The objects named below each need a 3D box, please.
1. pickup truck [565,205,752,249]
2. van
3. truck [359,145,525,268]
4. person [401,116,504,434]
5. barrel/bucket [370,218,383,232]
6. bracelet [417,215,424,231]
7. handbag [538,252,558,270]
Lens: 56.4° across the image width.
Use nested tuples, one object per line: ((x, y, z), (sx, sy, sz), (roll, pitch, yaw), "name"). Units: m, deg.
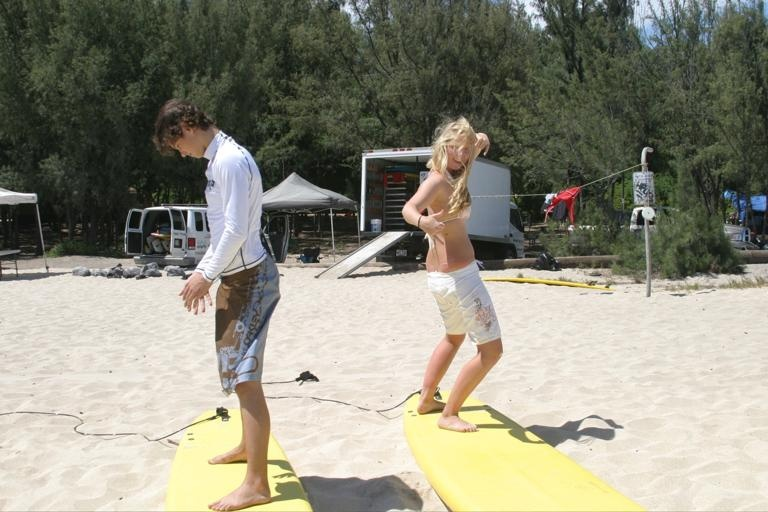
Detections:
((7.444, -0.806, 19.939), (3.321, 1.044, 1.244), (-3, 6, 4), "pickup truck")
((-4.238, -0.509, 16.299), (1.545, 1.306, 2.485), (1, 10, 21), "van")
((2.106, -1.258, 21.597), (2.898, 3.406, 5.525), (1, 0, 33), "truck")
((0.871, 0.223, 8.896), (1.073, 3.794, 0.522), (-1, 3, 9), "person")
((-0.262, -0.945, 21.370), (0.320, 0.350, 0.332), (-1, -3, 0), "barrel/bucket")
((0.421, -0.430, 8.688), (0.068, 0.144, 0.072), (-2, 4, -16), "bracelet")
((4.323, 0.130, 19.049), (0.354, 0.521, 0.470), (-2, 6, -28), "handbag")
